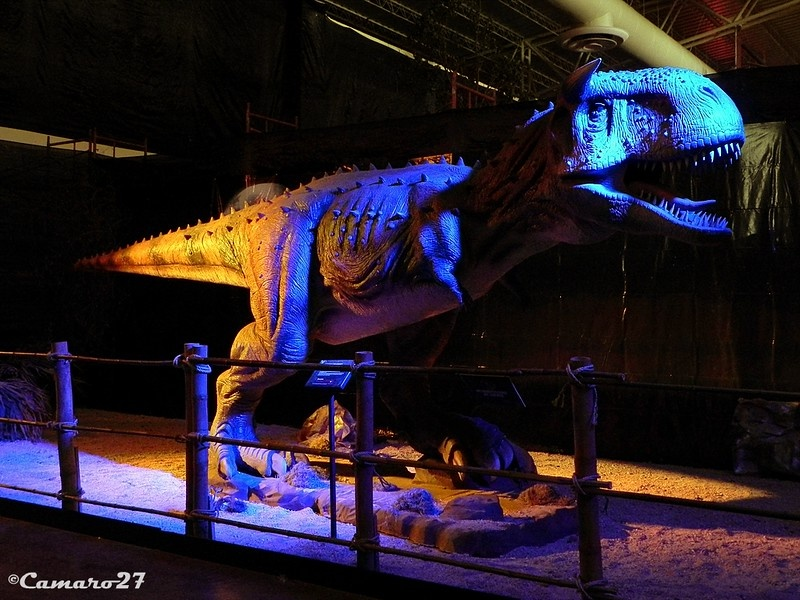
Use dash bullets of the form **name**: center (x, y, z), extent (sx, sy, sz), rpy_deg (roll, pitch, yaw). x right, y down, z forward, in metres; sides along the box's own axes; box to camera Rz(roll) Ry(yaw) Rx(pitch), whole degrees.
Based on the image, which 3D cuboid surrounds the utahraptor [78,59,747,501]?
- **utahraptor**: center (-0.103, -0.107, 5.955), extent (4.992, 2.412, 1.817), rpy_deg (-3, -2, 24)

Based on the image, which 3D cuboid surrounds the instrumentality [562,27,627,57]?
- **instrumentality**: center (1.994, -2.717, 8.575), extent (0.442, 0.113, 0.409), rpy_deg (0, 1, -5)
